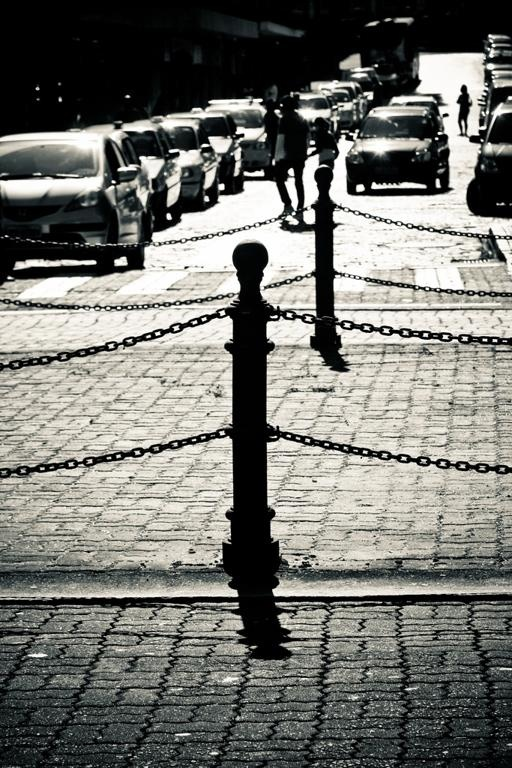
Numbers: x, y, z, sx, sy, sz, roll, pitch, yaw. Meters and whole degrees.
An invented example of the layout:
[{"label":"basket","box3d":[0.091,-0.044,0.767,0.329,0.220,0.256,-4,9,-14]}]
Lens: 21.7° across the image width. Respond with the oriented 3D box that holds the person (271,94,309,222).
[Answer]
[{"label":"person","box3d":[0.537,-3.625,21.236,0.556,1.850,1.009,-2,11,1]}]
